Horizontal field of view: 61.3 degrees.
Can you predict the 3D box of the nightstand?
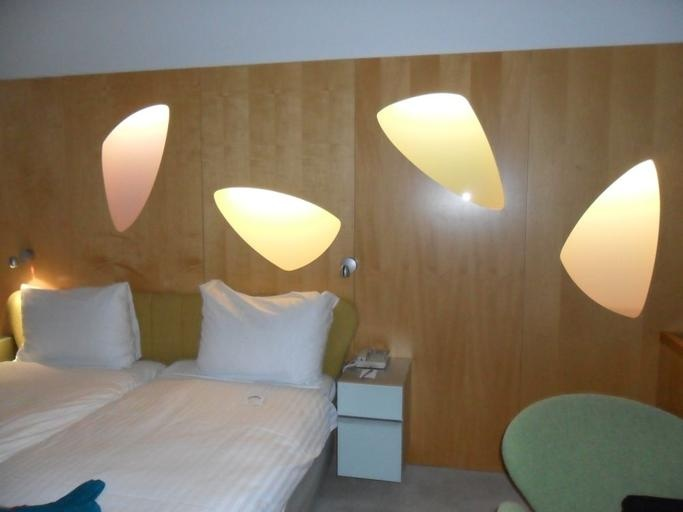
[{"bbox_3d":[0.206,1.059,3.774,0.497,0.897,0.593,0,-1,11],"label":"nightstand"}]
